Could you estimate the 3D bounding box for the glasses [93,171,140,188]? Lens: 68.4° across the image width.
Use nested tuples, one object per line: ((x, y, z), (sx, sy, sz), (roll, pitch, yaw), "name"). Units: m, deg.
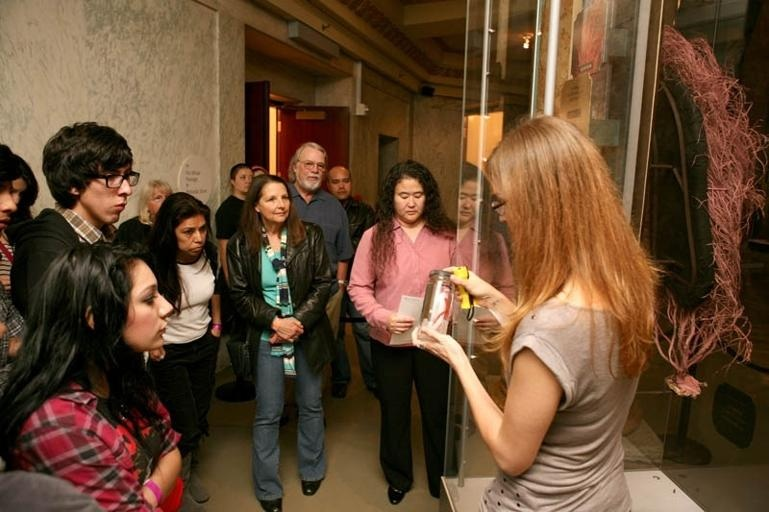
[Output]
((-1.196, -0.342, 2.501), (0.189, 0.059, 0.193), (-1, 5, 22), "glasses")
